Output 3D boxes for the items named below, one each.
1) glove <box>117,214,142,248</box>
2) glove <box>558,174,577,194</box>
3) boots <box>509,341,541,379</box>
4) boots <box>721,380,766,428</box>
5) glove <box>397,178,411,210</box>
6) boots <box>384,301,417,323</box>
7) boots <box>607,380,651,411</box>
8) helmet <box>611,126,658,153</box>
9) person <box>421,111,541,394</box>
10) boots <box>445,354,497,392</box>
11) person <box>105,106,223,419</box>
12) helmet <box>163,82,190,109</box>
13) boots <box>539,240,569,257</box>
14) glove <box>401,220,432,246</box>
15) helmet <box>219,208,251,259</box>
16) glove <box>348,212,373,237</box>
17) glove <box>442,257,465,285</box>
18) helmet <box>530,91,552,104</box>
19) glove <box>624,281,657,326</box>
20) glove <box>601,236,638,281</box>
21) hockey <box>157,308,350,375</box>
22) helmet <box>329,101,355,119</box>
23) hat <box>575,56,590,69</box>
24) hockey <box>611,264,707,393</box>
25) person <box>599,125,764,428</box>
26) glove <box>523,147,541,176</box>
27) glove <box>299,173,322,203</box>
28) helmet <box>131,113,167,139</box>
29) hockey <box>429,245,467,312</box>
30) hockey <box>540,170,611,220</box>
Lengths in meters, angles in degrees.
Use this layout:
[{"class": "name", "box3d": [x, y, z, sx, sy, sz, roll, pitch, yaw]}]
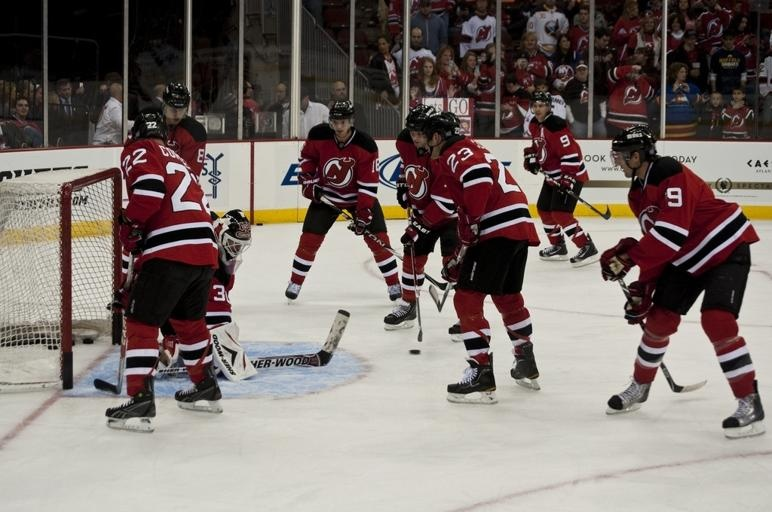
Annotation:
[{"class": "glove", "box3d": [-1.404, -0.135, 4.999, 0.087, 0.179, 0.134, -28, 39, -15]}, {"class": "glove", "box3d": [1.819, -0.751, 9.105, 0.177, 0.164, 0.113, 0, 8, 3]}, {"class": "boots", "box3d": [0.871, 0.678, 5.755, 0.125, 0.239, 0.285, -14, 0, -26]}, {"class": "boots", "box3d": [1.976, 0.836, 4.998, 0.242, 0.250, 0.096, -5, 9, -31]}, {"class": "glove", "box3d": [0.139, -0.517, 7.257, 0.081, 0.203, 0.158, -7, -3, -39]}, {"class": "boots", "box3d": [0.119, 0.447, 7.066, 0.321, 0.152, 0.096, -7, 10, -43]}, {"class": "boots", "box3d": [1.386, 0.834, 5.406, 0.329, 0.199, 0.121, 0, 12, -13]}, {"class": "helmet", "box3d": [1.422, -0.692, 5.185, 0.214, 0.144, 0.169, -7, 15, 4]}, {"class": "person", "box3d": [0.587, -0.008, 5.570, 0.719, 1.775, 0.444, 0, 8, 6]}, {"class": "boots", "box3d": [0.498, 0.730, 5.510, 0.347, 0.249, 0.120, -5, 10, -12]}, {"class": "person", "box3d": [-1.280, 0.059, 5.088, 0.644, 1.761, 0.373, -3, 8, -17]}, {"class": "helmet", "box3d": [-1.511, -1.176, 6.503, 0.175, 0.190, 0.257, -2, 7, -13]}, {"class": "boots", "box3d": [1.779, -0.085, 9.556, 0.372, 0.218, 0.125, 2, 13, 11]}, {"class": "glove", "box3d": [0.225, -0.175, 6.708, 0.091, 0.136, 0.230, 11, -37, -46]}, {"class": "helmet", "box3d": [-0.952, -0.141, 5.671, 0.187, 0.302, 0.162, -2, 8, -11]}, {"class": "glove", "box3d": [-0.229, -0.276, 7.492, 0.155, 0.177, 0.191, 5, 16, -16]}, {"class": "glove", "box3d": [0.431, 0.083, 5.810, 0.119, 0.157, 0.056, 21, 7, 22]}, {"class": "helmet", "box3d": [1.566, -1.632, 9.054, 0.178, 0.104, 0.211, 3, 3, 11]}, {"class": "glove", "box3d": [1.490, 0.275, 5.315, 0.111, 0.233, 0.190, 11, 29, -13]}, {"class": "glove", "box3d": [1.339, 0.015, 5.232, 0.108, 0.239, 0.243, 41, 21, -22]}, {"class": "hockey", "box3d": [-0.713, 0.614, 6.390, 0.018, 0.434, 1.408, 33, -26, -29]}, {"class": "helmet", "box3d": [-0.378, -1.220, 7.300, 0.191, 0.191, 0.209, -1, -2, 10]}, {"class": "hat", "box3d": [2.691, -2.711, 12.428, 0.198, 0.132, 0.312, -1, 0, 14]}, {"class": "hockey", "box3d": [1.711, 0.477, 5.641, 0.154, 0.134, 1.211, -20, -46, 31]}, {"class": "person", "box3d": [1.699, 0.122, 5.111, 0.857, 1.725, 0.437, 1, 8, 13]}, {"class": "glove", "box3d": [1.503, -1.012, 9.391, 0.112, 0.257, 0.200, 0, -11, -26]}, {"class": "glove", "box3d": [-0.632, -0.587, 7.548, 0.210, 0.230, 0.147, 0, 8, 4]}, {"class": "helmet", "box3d": [-1.347, -0.737, 5.138, 0.158, 0.171, 0.180, 6, -3, -15]}, {"class": "hockey", "box3d": [0.465, 0.177, 6.512, 0.135, 0.425, 0.432, 19, 28, 29]}, {"class": "hockey", "box3d": [2.137, -0.734, 10.197, 1.112, 0.123, 0.347, 28, -39, -14]}]
